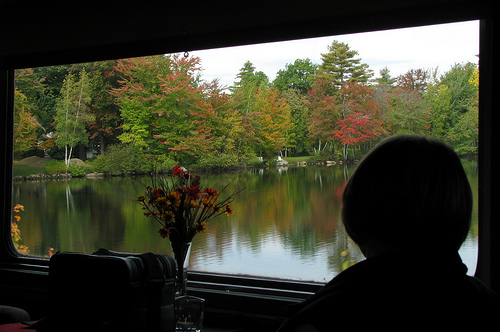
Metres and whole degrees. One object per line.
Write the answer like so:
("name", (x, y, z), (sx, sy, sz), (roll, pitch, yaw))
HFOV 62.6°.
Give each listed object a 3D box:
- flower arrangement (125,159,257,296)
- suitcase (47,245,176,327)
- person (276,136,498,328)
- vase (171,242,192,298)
("flower arrangement", (-0.349, 0.360, 2.359), (0.551, 0.678, 0.525), (8, 10, 12))
("suitcase", (-0.696, 0.667, 2.077), (0.639, 0.445, 0.371), (-3, -8, 37))
("person", (0.316, 0.210, 1.343), (0.746, 0.622, 0.490), (0, 7, -4))
("vase", (-0.394, 0.540, 2.210), (0.124, 0.357, 0.120), (2, -36, -13))
